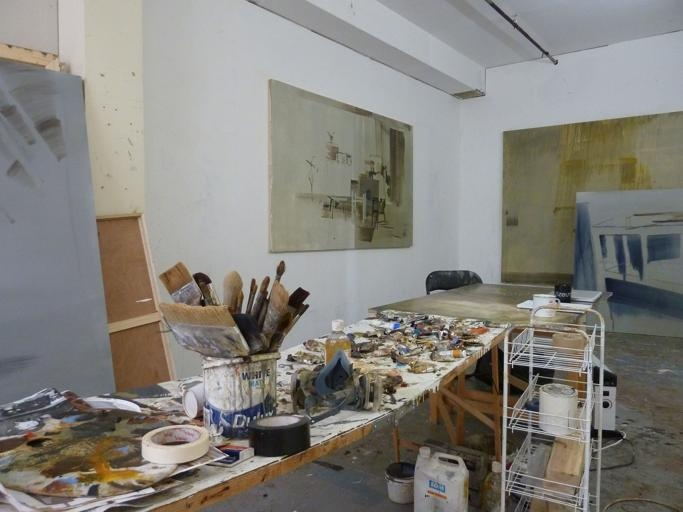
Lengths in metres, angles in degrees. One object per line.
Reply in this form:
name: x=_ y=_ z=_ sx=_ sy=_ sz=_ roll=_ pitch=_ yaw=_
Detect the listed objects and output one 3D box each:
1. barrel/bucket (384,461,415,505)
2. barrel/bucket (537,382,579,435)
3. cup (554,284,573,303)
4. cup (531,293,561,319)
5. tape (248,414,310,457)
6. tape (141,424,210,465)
barrel/bucket: x=0.314 y=1.204 z=2.668 sx=0.176 sy=0.142 sz=0.176 roll=-1 pitch=6 yaw=0
barrel/bucket: x=0.915 y=0.637 z=2.121 sx=0.148 sy=0.192 sz=0.175 roll=4 pitch=1 yaw=24
cup: x=1.449 y=0.254 z=3.238 sx=0.096 sy=0.162 sz=0.095 roll=-1 pitch=6 yaw=0
cup: x=1.168 y=0.295 z=2.827 sx=0.153 sy=0.122 sz=0.122 roll=0 pitch=-1 yaw=16
tape: x=-0.180 y=0.530 z=1.451 sx=0.177 sy=0.092 sz=0.098 roll=-2 pitch=6 yaw=-8
tape: x=-0.468 y=0.531 z=1.386 sx=0.186 sy=0.069 sz=0.108 roll=-2 pitch=6 yaw=-12
